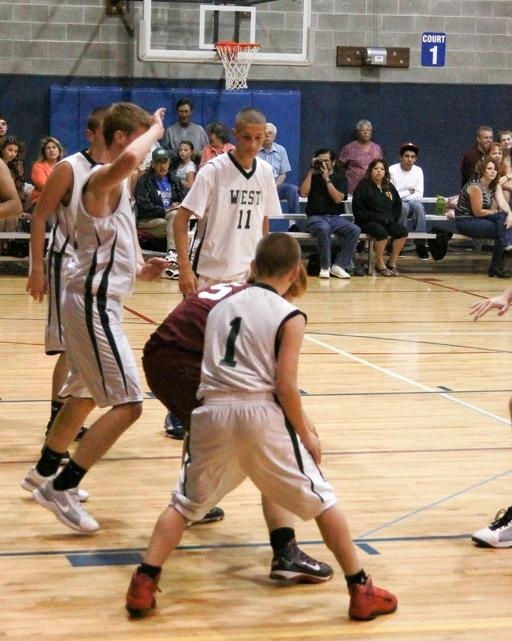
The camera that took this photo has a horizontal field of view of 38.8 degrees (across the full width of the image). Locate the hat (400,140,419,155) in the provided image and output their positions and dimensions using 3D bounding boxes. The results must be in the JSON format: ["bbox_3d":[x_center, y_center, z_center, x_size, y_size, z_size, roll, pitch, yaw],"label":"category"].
[{"bbox_3d":[2.334,-2.574,11.005,0.240,0.172,0.252,3,9,-1],"label":"hat"}]

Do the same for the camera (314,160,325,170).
[{"bbox_3d":[0.847,-2.033,9.585,0.129,0.105,0.109,7,23,13],"label":"camera"}]
